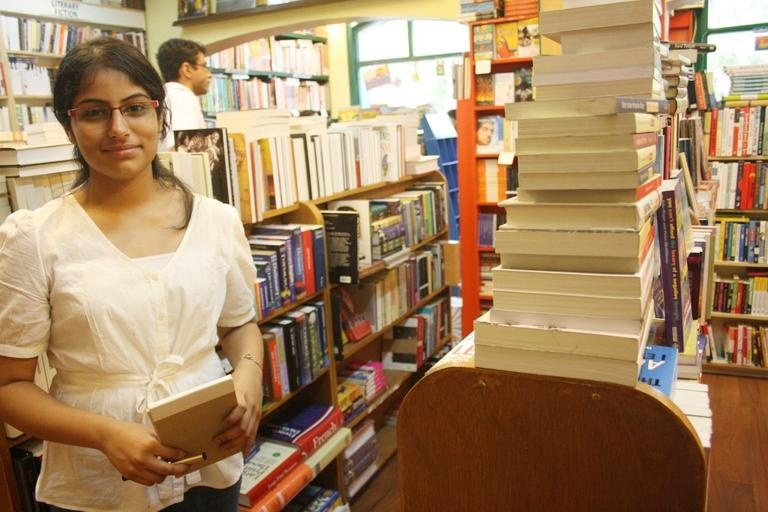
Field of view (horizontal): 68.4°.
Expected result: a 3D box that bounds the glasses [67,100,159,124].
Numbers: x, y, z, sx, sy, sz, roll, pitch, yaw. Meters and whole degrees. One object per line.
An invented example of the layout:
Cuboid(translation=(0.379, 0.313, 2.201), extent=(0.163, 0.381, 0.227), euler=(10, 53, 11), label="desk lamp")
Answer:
Cuboid(translation=(-0.750, -0.395, 1.576), extent=(0.224, 0.056, 0.078), euler=(-11, 15, -28), label="glasses")
